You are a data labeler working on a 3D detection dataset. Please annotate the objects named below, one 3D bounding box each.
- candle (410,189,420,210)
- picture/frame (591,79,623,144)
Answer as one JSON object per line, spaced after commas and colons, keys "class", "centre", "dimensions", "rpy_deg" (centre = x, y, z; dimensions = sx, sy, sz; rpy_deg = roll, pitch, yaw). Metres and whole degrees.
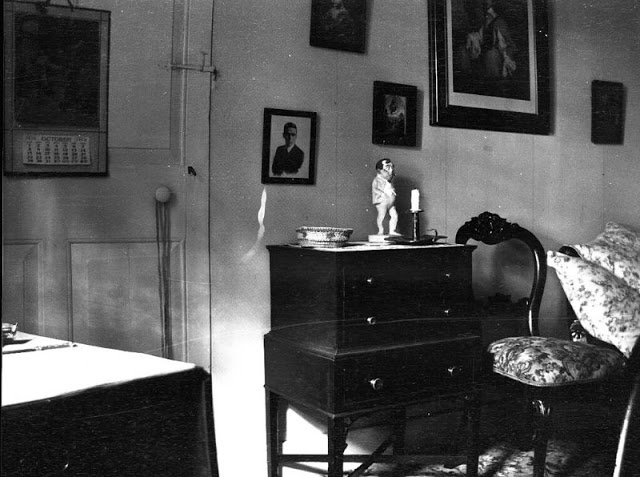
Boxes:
{"class": "candle", "centre": [0.136, -0.055, 0.962], "dimensions": [0.013, 0.030, 0.004], "rpy_deg": [1, 4, -1]}
{"class": "picture/frame", "centre": [0.443, -0.188, 1.037], "dimensions": [0.011, 0.091, 0.059], "rpy_deg": [-12, 17, -32]}
